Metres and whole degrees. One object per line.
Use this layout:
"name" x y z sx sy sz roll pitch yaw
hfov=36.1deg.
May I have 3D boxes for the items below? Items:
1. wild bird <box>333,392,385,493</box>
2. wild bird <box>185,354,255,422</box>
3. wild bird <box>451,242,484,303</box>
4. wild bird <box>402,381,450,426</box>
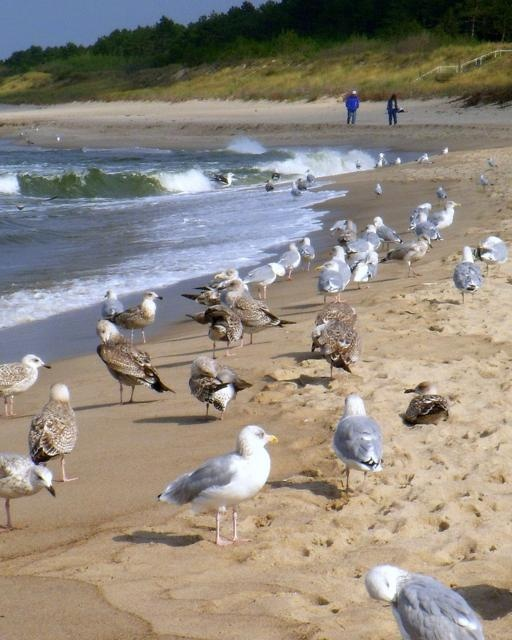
"wild bird" 0.793 0.889 5.894 0.393 0.539 0.724 -3 15 -8
"wild bird" -0.345 0.635 7.479 0.713 0.481 0.378 20 31 31
"wild bird" 2.815 -0.585 10.327 0.414 0.633 1.055 -2 13 9
"wild bird" 1.511 0.789 7.013 0.374 0.150 0.501 2 18 44
